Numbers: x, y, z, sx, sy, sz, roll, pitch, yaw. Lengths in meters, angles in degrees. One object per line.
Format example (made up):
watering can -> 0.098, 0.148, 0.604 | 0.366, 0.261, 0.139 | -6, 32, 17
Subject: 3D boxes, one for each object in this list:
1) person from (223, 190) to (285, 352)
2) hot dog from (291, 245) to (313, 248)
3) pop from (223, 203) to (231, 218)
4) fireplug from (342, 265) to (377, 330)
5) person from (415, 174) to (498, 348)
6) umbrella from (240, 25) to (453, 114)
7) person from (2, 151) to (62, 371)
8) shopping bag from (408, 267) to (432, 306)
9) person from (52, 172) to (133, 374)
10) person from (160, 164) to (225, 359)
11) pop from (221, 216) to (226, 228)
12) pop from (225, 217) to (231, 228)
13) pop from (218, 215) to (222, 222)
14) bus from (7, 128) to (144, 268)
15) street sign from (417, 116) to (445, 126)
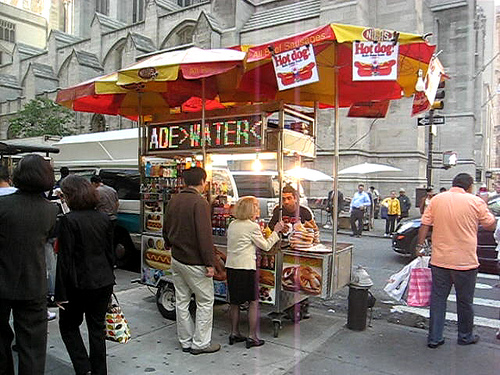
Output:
person -> -0.047, 1.337, 7.849 | 0.801, 2.387, 1.058 | 1, 4, -4
hot dog -> 0.863, 0.985, 7.902 | 0.345, 0.055, 0.113 | 1, 5, -5
pop -> -0.417, 0.417, 8.513 | 0.148, 0.290, 0.154 | 1, -3, 20
fireplug -> 1.960, 1.967, 8.318 | 0.519, 0.997, 0.422 | 3, -5, -3
person -> 3.283, 1.192, 7.708 | 1.080, 2.810, 0.539 | 2, 5, 20
umbrella -> 1.792, -1.993, 8.046 | 2.548, 1.065, 2.603 | -2, -5, 41
person -> -2.825, 0.983, 6.081 | 0.688, 2.825, 0.400 | -1, 5, -23
shopping bag -> 2.859, 1.679, 7.943 | 0.203, 0.566, 0.566 | 9, -4, 43
person -> -2.265, 1.212, 6.487 | 0.778, 2.731, 0.414 | -1, 5, -24
person -> -0.852, 1.146, 7.433 | 0.963, 2.886, 0.540 | 4, 5, 38
pop -> -0.474, 0.622, 8.471 | 0.101, 0.200, 0.055 | 2, 5, 18
pop -> -0.385, 0.626, 8.403 | 0.091, 0.185, 0.143 | -1, 5, -19
pop -> -0.541, 0.557, 8.515 | 0.103, 0.121, 0.108 | 3, -5, -13
bus -> -4.317, 0.021, 12.796 | 5.005, 3.170, 2.993 | 2, 0, 23
street sign -> 6.420, -2.416, 16.797 | 0.827, 0.425, 2.809 | 3, 5, 20
